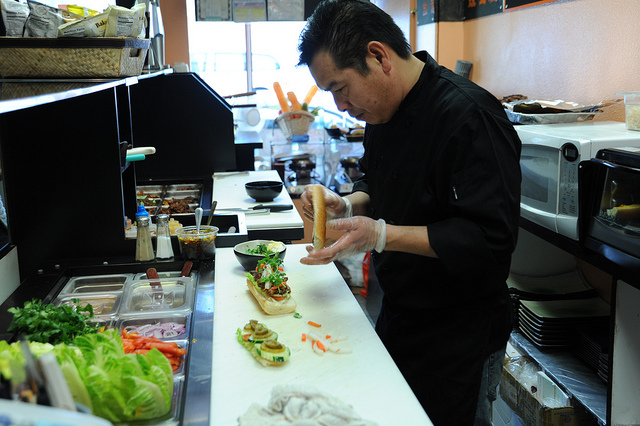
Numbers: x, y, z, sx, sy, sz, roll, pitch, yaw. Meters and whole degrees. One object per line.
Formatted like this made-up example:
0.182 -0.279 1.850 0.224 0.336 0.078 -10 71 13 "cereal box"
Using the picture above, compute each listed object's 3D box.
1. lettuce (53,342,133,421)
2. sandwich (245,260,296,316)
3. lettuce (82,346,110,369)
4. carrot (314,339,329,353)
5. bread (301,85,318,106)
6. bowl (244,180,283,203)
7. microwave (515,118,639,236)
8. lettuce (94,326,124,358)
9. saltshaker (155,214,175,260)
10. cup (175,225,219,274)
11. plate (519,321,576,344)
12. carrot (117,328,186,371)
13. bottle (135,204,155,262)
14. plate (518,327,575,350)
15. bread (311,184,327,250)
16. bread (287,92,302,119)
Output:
-0.628 0.472 1.202 0.185 0.243 0.076 3 18 24 "lettuce"
-0.222 0.282 1.858 0.180 0.173 0.289 2 20 -24 "sandwich"
-0.635 0.406 1.220 0.053 0.054 0.021 -2 -18 -2 "lettuce"
-0.002 0.472 1.553 0.034 0.026 0.054 -18 22 -40 "carrot"
-0.116 -1.334 4.914 0.138 0.190 0.306 6 20 32 "bread"
-0.425 -0.160 3.176 0.188 0.075 0.193 -2 14 0 "bowl"
1.097 -0.179 2.157 0.541 0.413 0.567 -1 24 0 "microwave"
-0.599 0.373 1.255 0.073 0.058 0.078 9 57 -7 "lettuce"
-0.810 0.111 2.214 0.091 0.206 0.184 -10 17 -18 "saltshaker"
-0.601 0.161 2.190 0.217 0.209 0.221 0 10 0 "cup"
1.251 0.695 2.449 0.293 0.032 0.110 12 23 42 "plate"
-0.606 0.475 1.543 0.254 0.052 0.166 9 19 14 "carrot"
-0.899 0.098 2.174 0.096 0.250 0.181 -11 18 -23 "bottle"
1.267 0.697 2.422 0.141 0.039 0.155 1 11 -6 "plate"
-0.009 0.013 1.853 0.076 0.084 0.342 -14 46 15 "bread"
-0.274 -1.140 4.517 0.084 0.399 0.107 -9 -23 -10 "bread"
